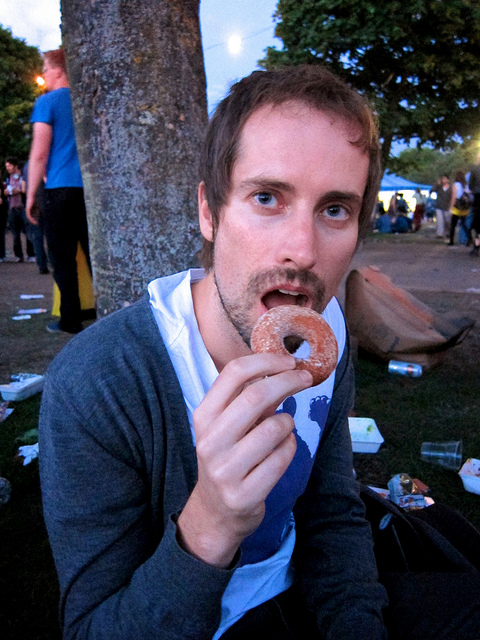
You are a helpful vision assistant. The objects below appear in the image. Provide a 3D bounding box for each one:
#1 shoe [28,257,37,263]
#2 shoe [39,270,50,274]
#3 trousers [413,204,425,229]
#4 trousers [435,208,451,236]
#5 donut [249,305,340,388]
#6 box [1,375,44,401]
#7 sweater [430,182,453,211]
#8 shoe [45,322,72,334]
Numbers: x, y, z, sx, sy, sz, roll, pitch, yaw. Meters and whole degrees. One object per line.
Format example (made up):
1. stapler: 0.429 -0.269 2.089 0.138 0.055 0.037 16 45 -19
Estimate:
1. shoe: -4.691 -1.373 12.020 0.134 0.159 0.382 -2 9 -33
2. shoe: -3.673 -0.898 9.912 0.140 0.041 0.031 -5 19 26
3. trousers: 7.917 -4.640 23.645 0.349 1.026 0.848 7 14 18
4. trousers: 6.528 -3.164 17.165 0.424 0.885 0.868 7 14 20
5. donut: 0.158 0.116 1.668 0.294 0.104 0.290 34 49 -9
6. box: -1.776 0.552 4.321 0.232 0.109 0.413 6 14 16
7. sweater: 6.227 -3.796 16.305 0.427 0.836 0.875 7 14 17
8. shoe: -2.036 0.089 5.889 0.235 0.046 0.132 2 8 -6
